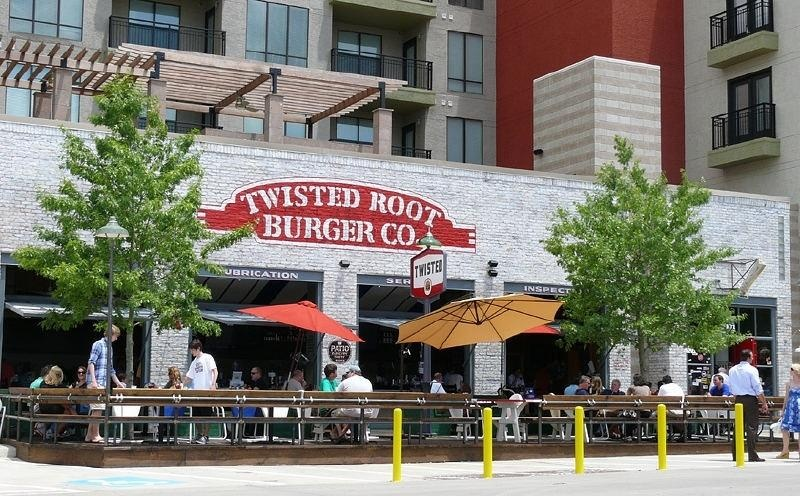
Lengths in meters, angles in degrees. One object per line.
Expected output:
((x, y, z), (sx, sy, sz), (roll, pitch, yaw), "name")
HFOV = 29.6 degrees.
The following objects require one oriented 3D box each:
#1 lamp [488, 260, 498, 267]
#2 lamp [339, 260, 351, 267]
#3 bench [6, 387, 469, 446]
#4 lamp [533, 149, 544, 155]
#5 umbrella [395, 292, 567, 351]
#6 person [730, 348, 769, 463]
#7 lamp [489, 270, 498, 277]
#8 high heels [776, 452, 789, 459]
((3.227, 0.575, 53.435), (0.301, 0.175, 0.208), (2, -10, -18), "lamp")
((-1.929, 0.560, 52.027), (0.391, 0.230, 0.191), (5, -13, -23), "lamp")
((-4.663, 4.780, 44.090), (13.156, 1.538, 2.031), (0, -2, -14), "bench")
((5.490, -3.804, 60.819), (0.442, 0.206, 0.102), (-6, 8, 41), "lamp")
((2.337, 2.162, 45.883), (4.553, 1.490, 1.107), (-3, -12, 13), "umbrella")
((9.921, 4.491, 43.622), (0.970, 3.168, 1.453), (-7, -14, 29), "person")
((3.224, 0.916, 53.466), (0.275, 0.181, 0.225), (0, 1, -22), "lamp")
((11.156, 6.069, 44.519), (0.192, 0.122, 0.341), (5, -4, -39), "high heels")
